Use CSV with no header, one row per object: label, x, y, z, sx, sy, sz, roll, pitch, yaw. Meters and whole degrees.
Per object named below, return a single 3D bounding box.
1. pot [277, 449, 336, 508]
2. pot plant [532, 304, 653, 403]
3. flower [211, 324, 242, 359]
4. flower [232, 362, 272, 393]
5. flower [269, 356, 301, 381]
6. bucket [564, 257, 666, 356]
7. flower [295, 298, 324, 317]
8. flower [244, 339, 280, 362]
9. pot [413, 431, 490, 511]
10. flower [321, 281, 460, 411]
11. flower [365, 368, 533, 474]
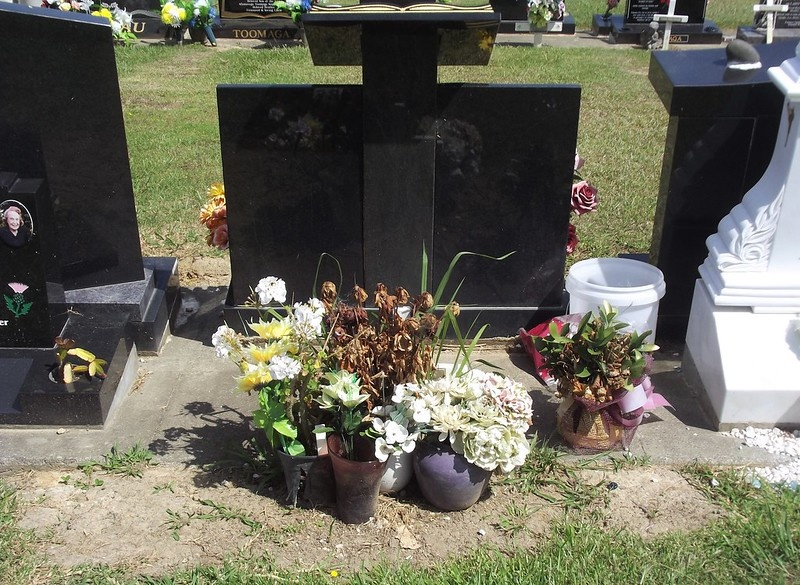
pot,-0.468,0.981,3.535,0.299,0.319,0.318,-7,-13,-2
pot plant,1.092,0.324,3.831,0.582,0.404,0.574,-27,46,-25
flower,-0.912,0.248,3.477,0.181,0.179,0.110,2,2,11
flower,-0.762,0.446,3.426,0.185,0.211,0.131,-2,26,-9
flower,-0.570,0.375,3.221,0.148,0.170,0.125,-2,26,-8
bucket,1.446,-0.013,4.450,0.631,0.544,0.625,-2,24,1
flower,-0.464,0.095,3.376,0.110,0.059,0.111,-7,33,-20
flower,-0.703,0.275,3.378,0.129,0.075,0.130,1,17,28
pot,0.250,0.952,3.581,0.383,0.322,0.399,1,6,0
flower,-0.040,0.176,3.572,0.708,0.726,0.686,6,23,11
flower,0.256,0.697,3.449,0.856,0.542,0.404,-2,26,-9
